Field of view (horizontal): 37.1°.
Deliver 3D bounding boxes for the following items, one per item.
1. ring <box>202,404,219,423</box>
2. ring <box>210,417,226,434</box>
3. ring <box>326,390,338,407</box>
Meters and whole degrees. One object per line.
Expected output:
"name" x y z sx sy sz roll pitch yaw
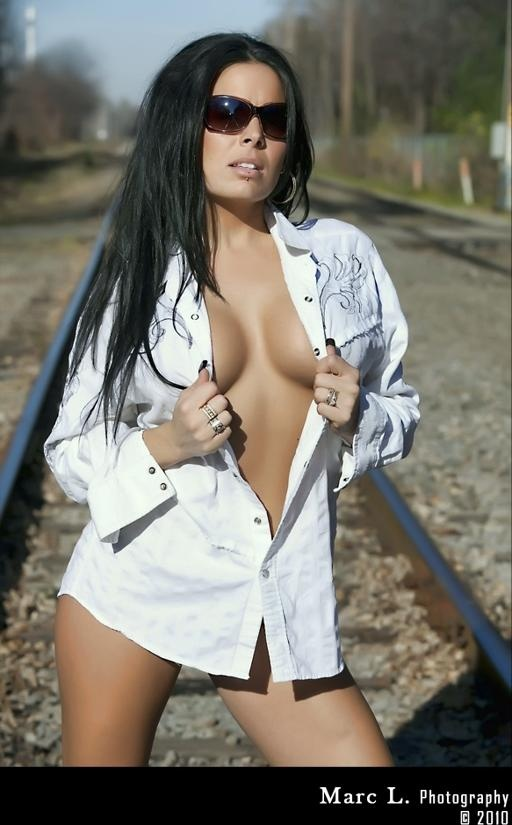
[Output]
"ring" -0.079 -0.001 1.323 0.027 0.030 0.030 -31 2 -9
"ring" -0.067 0.021 1.324 0.023 0.033 0.030 -24 6 -7
"ring" 0.134 -0.026 1.347 0.019 0.023 0.009 9 -5 -26
